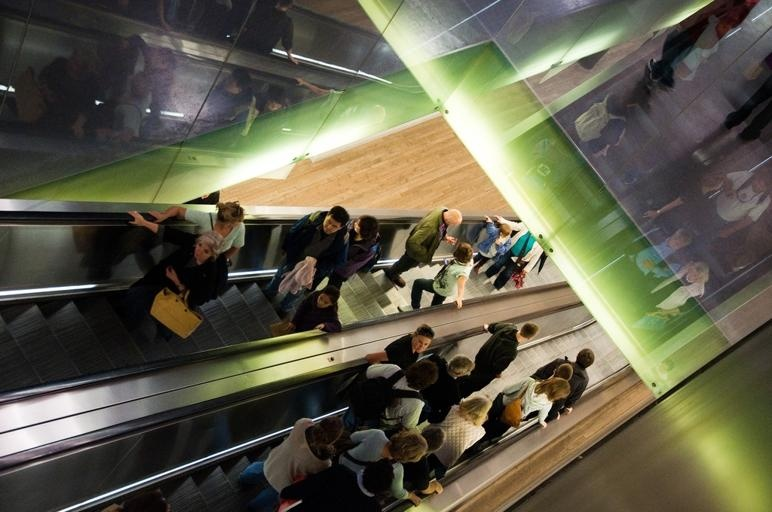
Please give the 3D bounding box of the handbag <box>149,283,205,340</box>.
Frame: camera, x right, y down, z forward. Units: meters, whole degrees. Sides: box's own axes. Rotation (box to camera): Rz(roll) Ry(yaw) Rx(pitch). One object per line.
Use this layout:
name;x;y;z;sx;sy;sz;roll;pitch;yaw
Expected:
handbag;-1.702;0.435;3.538;0.349;0.380;0.167;-43;25;4

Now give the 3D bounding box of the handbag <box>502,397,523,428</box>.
handbag;1.238;1.518;4.253;0.091;0.258;0.223;15;-11;-42

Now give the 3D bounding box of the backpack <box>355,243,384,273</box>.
backpack;-0.190;0.024;4.864;0.327;0.177;0.231;-48;9;36

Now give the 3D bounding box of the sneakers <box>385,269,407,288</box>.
sneakers;0.124;0.296;5.772;0.079;0.238;0.162;-50;11;-12

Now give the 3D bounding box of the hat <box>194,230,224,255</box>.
hat;-1.368;-0.131;3.537;0.207;0.154;0.188;-19;4;7

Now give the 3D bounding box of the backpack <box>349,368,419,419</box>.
backpack;0.039;1.106;3.661;0.541;0.355;0.517;-7;0;-42
